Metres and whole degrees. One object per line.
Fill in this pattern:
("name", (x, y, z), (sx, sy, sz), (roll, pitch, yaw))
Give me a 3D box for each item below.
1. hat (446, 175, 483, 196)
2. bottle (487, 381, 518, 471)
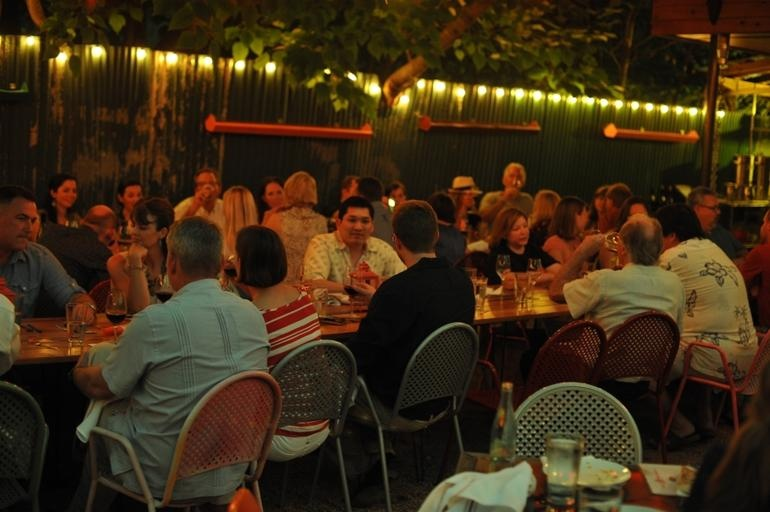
("hat", (1.197, -1.153, 9.670), (0.553, 0.226, 0.492), (-2, 0, 38))
("bottle", (0.529, 0.741, 2.828), (0.114, 0.334, 0.406), (2, 3, 12))
